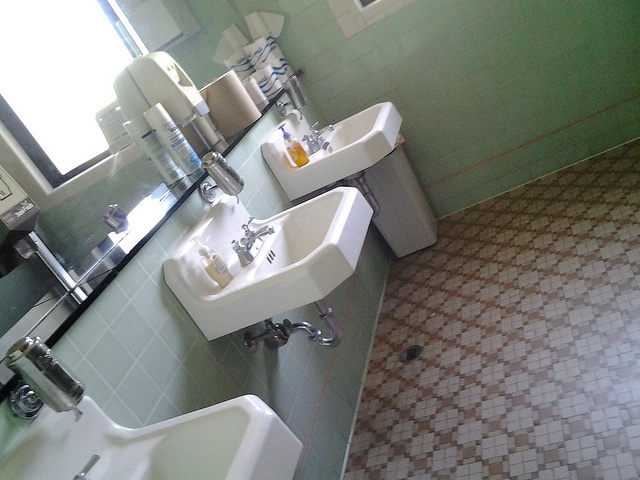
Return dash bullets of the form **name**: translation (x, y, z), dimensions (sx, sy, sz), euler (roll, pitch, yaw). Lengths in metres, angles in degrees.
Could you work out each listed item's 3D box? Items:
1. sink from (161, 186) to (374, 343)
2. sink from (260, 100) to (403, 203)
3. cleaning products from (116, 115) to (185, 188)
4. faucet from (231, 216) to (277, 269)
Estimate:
- **sink**: translation (-0.146, 0.057, 1.871), dimensions (0.639, 0.348, 0.617), euler (-21, 25, 13)
- **sink**: translation (0.114, -0.535, 2.756), dimensions (0.660, 0.515, 0.655), euler (-22, 25, 21)
- **cleaning products**: translation (-0.716, -0.356, 2.050), dimensions (0.093, 0.386, 0.103), euler (-37, 0, 19)
- **faucet**: translation (-0.248, -0.003, 1.916), dimensions (0.077, 0.111, 0.279), euler (2, 34, 20)
